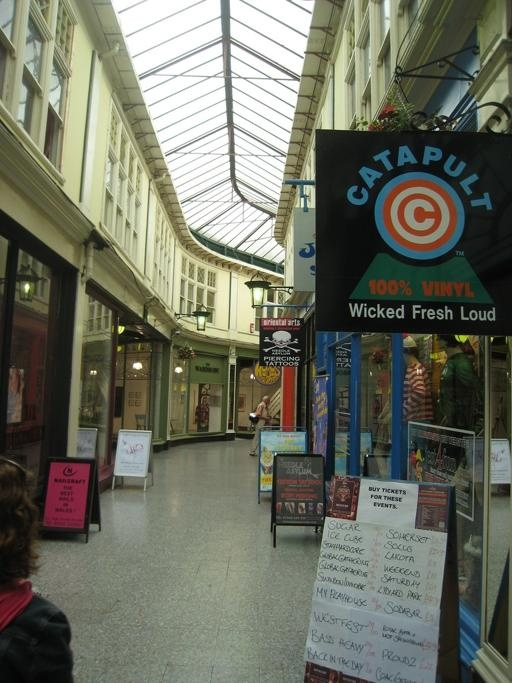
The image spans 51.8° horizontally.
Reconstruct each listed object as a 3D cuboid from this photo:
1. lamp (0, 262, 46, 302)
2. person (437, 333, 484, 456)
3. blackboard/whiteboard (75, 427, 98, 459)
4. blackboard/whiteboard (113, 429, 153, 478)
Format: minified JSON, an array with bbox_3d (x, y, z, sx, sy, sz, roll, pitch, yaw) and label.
[{"bbox_3d":[-2.523,-0.635,5.741,0.297,0.311,0.326,-1,-3,24],"label":"lamp"},{"bbox_3d":[1.277,0.340,3.246,0.255,0.908,0.362,7,-28,8],"label":"person"},{"bbox_3d":[-2.717,1.618,8.447,0.308,0.453,0.327,4,-8,-18],"label":"blackboard/whiteboard"},{"bbox_3d":[-2.184,1.989,9.294,0.572,0.822,0.522,5,-17,-13],"label":"blackboard/whiteboard"}]
